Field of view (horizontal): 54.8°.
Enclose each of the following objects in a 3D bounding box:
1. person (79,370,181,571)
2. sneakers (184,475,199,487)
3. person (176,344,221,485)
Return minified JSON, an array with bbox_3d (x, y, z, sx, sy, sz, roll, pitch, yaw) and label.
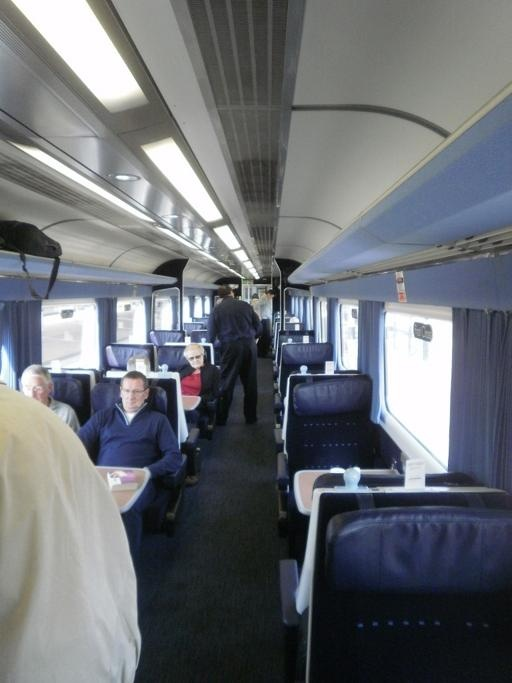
[{"bbox_3d":[-0.955,0.935,3.508,0.689,1.574,0.733,7,-9,-10],"label":"person"},{"bbox_3d":[-0.621,1.332,4.754,0.065,0.056,0.128,4,6,6],"label":"sneakers"},{"bbox_3d":[-0.733,0.793,5.731,0.351,0.831,1.026,-4,14,3],"label":"person"}]
